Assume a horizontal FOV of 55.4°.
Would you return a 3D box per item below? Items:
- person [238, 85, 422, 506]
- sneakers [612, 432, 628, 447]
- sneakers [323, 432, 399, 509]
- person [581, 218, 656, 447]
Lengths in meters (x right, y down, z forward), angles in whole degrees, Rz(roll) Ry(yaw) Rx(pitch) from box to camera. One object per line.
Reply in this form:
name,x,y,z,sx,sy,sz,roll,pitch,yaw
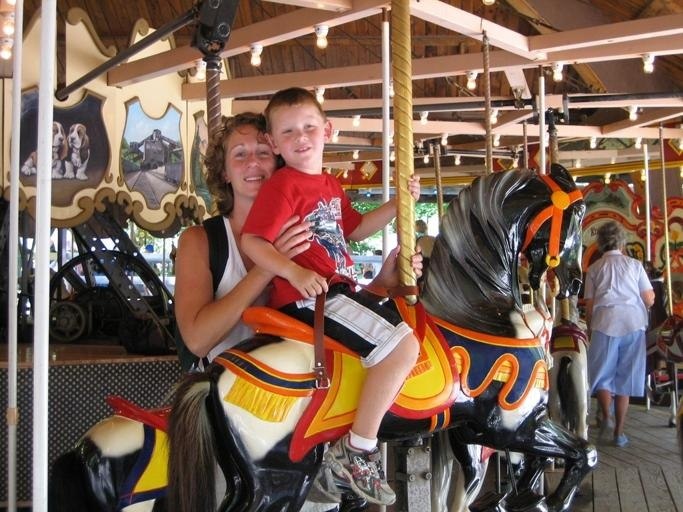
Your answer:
person,-0.040,0.139,2.834,0.752,1.745,0.551,0,0,6
sneakers,2.617,1.722,6.087,0.076,0.079,0.184,-3,-2,24
sneakers,0.074,0.861,2.621,0.285,0.301,0.121,0,0,-3
person,2.629,0.717,6.179,0.574,2.072,0.370,0,0,26
